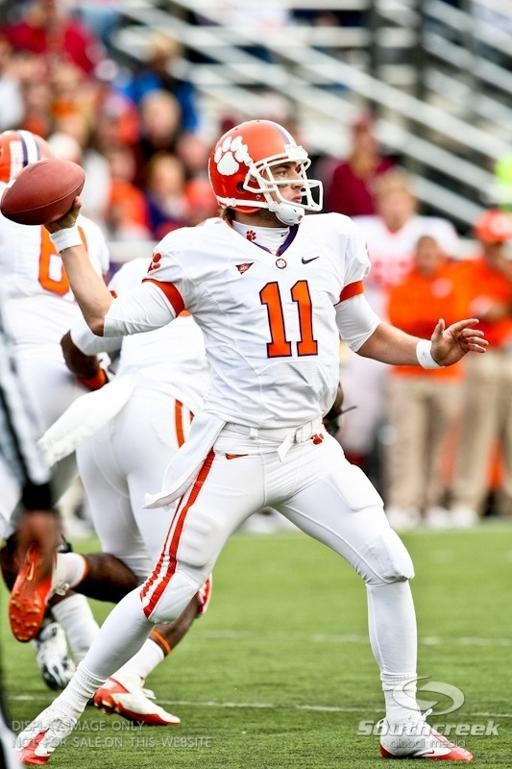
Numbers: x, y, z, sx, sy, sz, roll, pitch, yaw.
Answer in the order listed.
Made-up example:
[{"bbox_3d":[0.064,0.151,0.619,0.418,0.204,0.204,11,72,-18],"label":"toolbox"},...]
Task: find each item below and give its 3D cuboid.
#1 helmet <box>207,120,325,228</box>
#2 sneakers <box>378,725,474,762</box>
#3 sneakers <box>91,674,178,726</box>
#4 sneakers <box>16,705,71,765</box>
[{"bbox_3d":[0.021,-0.557,2.353,0.336,0.231,0.219,4,21,17],"label":"helmet"},{"bbox_3d":[0.393,0.873,2.137,0.271,0.093,0.081,3,-8,4],"label":"sneakers"},{"bbox_3d":[-0.343,0.920,2.565,0.279,0.110,0.089,29,-29,-20],"label":"sneakers"},{"bbox_3d":[-0.513,0.860,2.197,0.156,0.088,0.059,-46,10,-20],"label":"sneakers"}]
